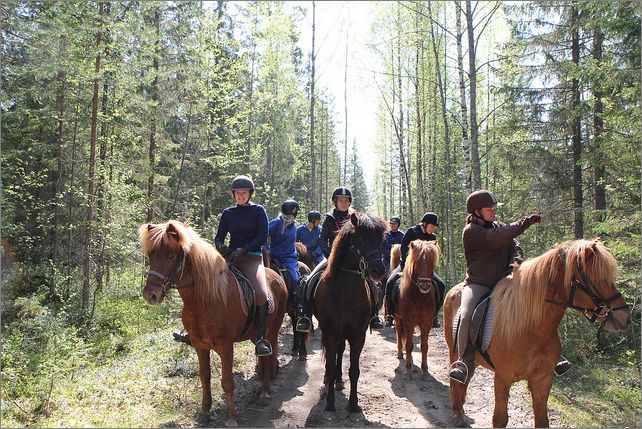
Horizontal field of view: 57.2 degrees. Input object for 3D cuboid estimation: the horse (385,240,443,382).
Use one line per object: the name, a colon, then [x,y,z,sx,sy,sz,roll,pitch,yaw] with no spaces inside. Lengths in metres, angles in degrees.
horse: [3.771,3.638,23.908,1.905,5.284,4.708,-1,1,-14]

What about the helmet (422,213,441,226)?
helmet: [4.441,0.197,23.714,0.620,0.451,0.477,6,3,22]

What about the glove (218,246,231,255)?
glove: [-3.372,1.255,20.786,0.339,0.382,0.293,-22,17,-28]

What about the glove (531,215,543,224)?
glove: [6.887,0.169,18.732,0.184,0.335,0.292,18,-13,-9]

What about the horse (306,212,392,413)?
horse: [1.044,3.426,20.622,2.394,6.893,1.254,-1,2,6]
